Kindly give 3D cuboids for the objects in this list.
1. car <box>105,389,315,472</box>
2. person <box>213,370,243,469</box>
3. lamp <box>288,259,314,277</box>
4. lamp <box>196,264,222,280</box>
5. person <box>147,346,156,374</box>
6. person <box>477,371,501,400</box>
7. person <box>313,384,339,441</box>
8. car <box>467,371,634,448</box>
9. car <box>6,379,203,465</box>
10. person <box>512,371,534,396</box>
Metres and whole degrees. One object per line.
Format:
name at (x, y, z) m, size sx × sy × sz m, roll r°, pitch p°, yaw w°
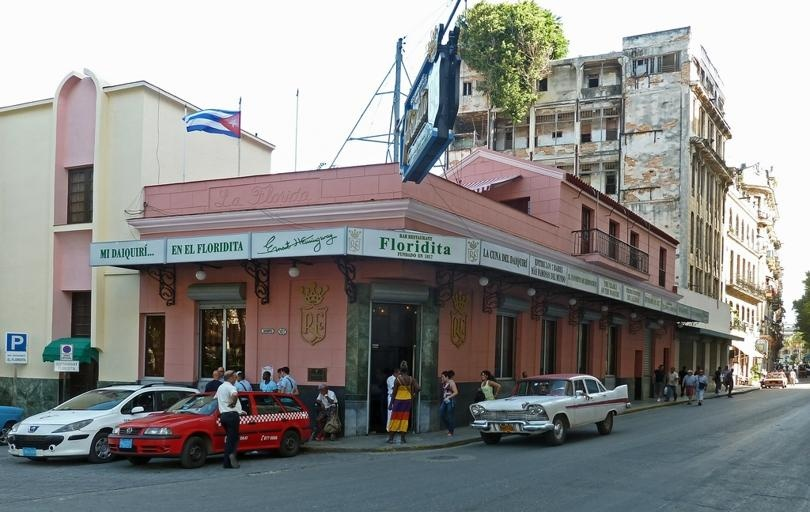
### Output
car at (-6.518, 6.366, 34.092) m, size 2.767 × 2.047 × 5.803 m, roll -10°, pitch -15°, yaw 42°
person at (-6.221, 5.794, 33.233) m, size 0.874 × 3.390 × 0.709 m, roll 3°, pitch -12°, yaw -16°
lamp at (-4.399, 0.473, 38.490) m, size 1.248 × 0.864 × 0.683 m, roll -3°, pitch -9°, yaw 23°
lamp at (-8.365, 0.726, 39.933) m, size 1.044 × 0.657 × 1.004 m, roll 3°, pitch -13°, yaw -16°
person at (-11.087, 4.548, 41.174) m, size 0.352 × 0.959 × 0.128 m, roll -3°, pitch -12°, yaw 12°
person at (3.491, 5.512, 39.771) m, size 0.733 × 1.540 × 0.763 m, roll 32°, pitch -47°, yaw -31°
person at (-3.129, 6.320, 37.342) m, size 1.297 × 2.215 × 0.981 m, roll -20°, pitch -35°, yaw 28°
car at (5.891, 6.118, 37.237) m, size 6.000 × 2.745 × 2.086 m, roll 8°, pitch -14°, yaw -34°
car at (-10.897, 6.175, 34.833) m, size 3.029 × 1.774 × 5.683 m, roll -6°, pitch -9°, yaw 39°
person at (4.808, 5.274, 37.733) m, size 0.844 × 1.247 × 0.335 m, roll 7°, pitch 2°, yaw 39°
